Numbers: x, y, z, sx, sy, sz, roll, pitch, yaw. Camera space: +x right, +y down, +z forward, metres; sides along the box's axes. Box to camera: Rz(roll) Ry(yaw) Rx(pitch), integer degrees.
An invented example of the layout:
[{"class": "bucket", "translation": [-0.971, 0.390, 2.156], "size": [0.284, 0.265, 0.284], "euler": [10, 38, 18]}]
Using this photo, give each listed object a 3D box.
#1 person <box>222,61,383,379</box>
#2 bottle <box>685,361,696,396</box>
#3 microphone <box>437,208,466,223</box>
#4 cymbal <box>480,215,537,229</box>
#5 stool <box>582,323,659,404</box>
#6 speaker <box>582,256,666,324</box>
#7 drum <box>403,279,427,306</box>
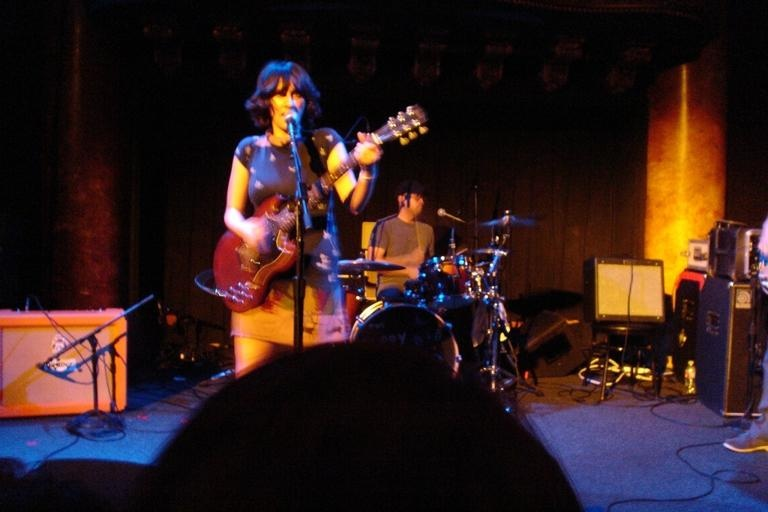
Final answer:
[{"class": "person", "translation": [-0.541, -0.263, 4.694], "size": [1.046, 2.039, 0.867], "euler": [-2, 12, -12]}, {"class": "bottle", "translation": [3.167, 1.245, 7.231], "size": [0.105, 0.294, 0.263], "euler": [5, 13, 22]}, {"class": "microphone", "translation": [0.788, -0.488, 8.380], "size": [0.359, 0.105, 0.123], "euler": [17, -6, 19]}, {"class": "cymbal", "translation": [1.480, -0.391, 8.156], "size": [0.370, 0.093, 0.387], "euler": [-1, -5, 0]}, {"class": "stool", "translation": [2.608, 1.135, 7.574], "size": [0.778, 0.742, 0.836], "euler": [-4, -7, 31]}, {"class": "speaker", "translation": [2.488, 0.427, 7.558], "size": [0.967, 0.920, 0.603], "euler": [1, -7, -2]}, {"class": "drum", "translation": [0.289, 0.344, 6.570], "size": [0.166, 0.247, 0.094], "euler": [-2, -5, 27]}]
